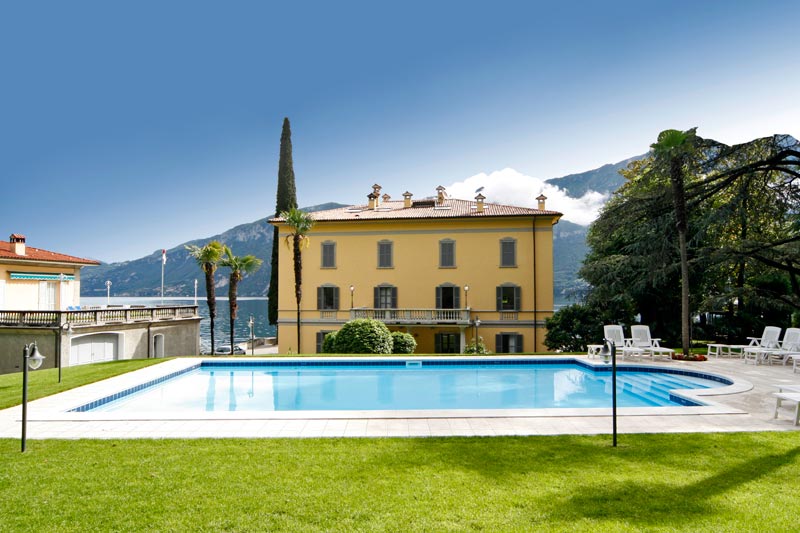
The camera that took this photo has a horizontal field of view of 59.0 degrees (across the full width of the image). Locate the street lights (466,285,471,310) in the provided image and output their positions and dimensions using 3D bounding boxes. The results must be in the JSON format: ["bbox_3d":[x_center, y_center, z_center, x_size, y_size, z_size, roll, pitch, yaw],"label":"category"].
[{"bbox_3d":[5.570,2.459,57.442,0.459,1.866,0.403,0,-5,-10],"label":"street lights"}]

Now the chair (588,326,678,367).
[{"bbox_3d":[15.932,5.106,46.898,4.169,2.362,2.799,-2,-5,12],"label":"chair"}]

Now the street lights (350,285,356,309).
[{"bbox_3d":[-3.898,2.495,58.292,0.467,1.908,0.781,-1,-5,-1],"label":"street lights"}]
